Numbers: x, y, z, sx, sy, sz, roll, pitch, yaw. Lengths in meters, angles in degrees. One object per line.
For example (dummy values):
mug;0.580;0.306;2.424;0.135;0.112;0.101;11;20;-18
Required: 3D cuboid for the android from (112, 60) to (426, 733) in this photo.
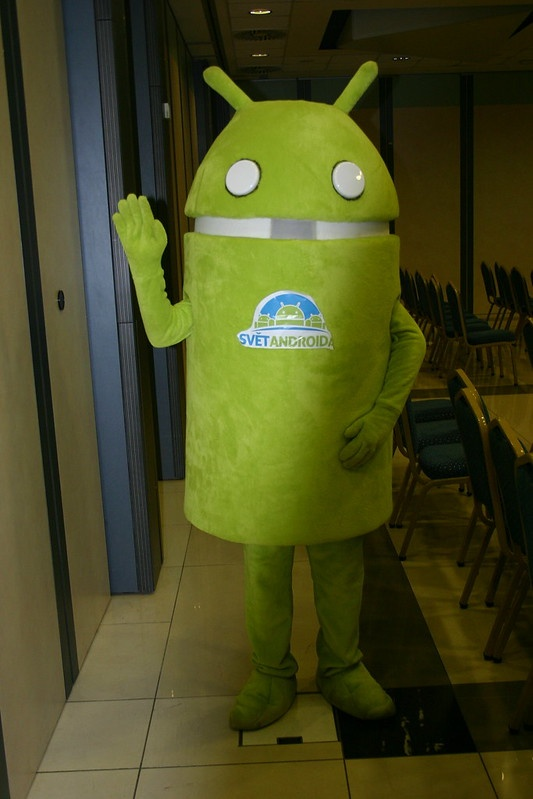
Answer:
android;0.047;0.059;1.527;0.729;1.679;0.437;-4;7;-15
